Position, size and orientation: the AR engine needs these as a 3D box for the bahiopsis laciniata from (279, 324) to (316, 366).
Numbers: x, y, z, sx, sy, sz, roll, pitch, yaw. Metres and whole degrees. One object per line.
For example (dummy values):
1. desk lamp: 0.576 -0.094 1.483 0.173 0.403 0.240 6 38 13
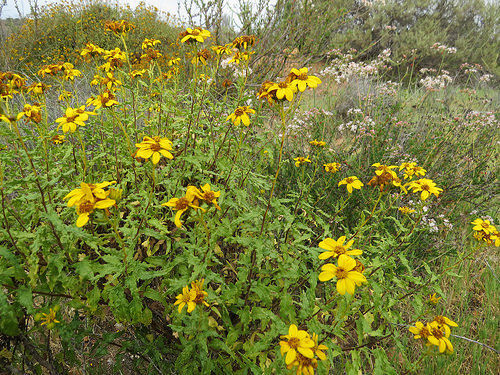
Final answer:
1. bahiopsis laciniata: 0.304 1.063 2.364 0.279 0.109 0.266 -5 21 34

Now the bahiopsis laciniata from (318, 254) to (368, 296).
1. bahiopsis laciniata: 0.620 0.591 2.392 0.293 0.086 0.271 -5 3 -42
